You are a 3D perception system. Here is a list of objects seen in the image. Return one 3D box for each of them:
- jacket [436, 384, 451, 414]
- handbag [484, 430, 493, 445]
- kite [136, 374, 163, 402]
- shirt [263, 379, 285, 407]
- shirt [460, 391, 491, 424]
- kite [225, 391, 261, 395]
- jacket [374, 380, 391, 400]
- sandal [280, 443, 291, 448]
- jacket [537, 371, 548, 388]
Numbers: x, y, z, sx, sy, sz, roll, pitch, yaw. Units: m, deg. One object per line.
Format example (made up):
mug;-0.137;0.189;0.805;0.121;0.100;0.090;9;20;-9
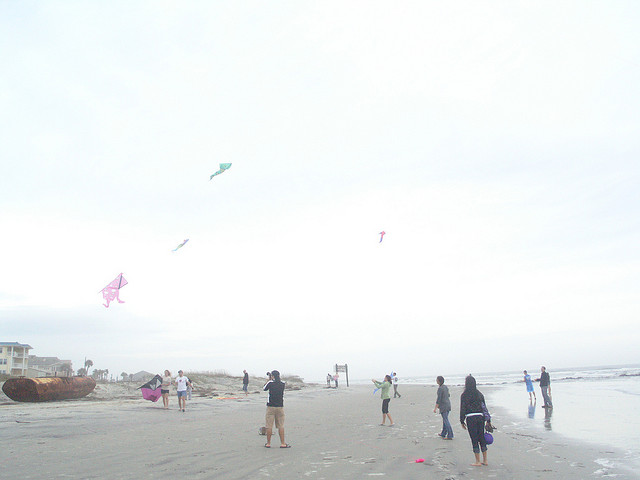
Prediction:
jacket;4.426;5.698;16.926;0.405;0.973;0.735;-4;-16;11
handbag;4.928;5.762;13.735;0.250;0.310;0.221;2;-16;-10
kite;-9.644;8.517;27.077;0.980;1.433;1.102;8;-18;-31
shirt;-1.531;5.193;16.025;0.713;0.898;0.412;3;-16;-14
shirt;4.519;4.911;13.882;0.886;0.979;0.389;-5;-4;-9
kite;-6.609;13.134;40.595;1.704;0.134;5.632;-6;-16;15
jacket;2.679;6.334;19.964;0.569;0.793;0.898;-3;-16;6
sandal;-1.147;6.900;15.852;0.294;0.122;0.098;0;-8;-16
jacket;11.951;7.399;25.157;0.406;0.795;0.609;-7;-17;22
